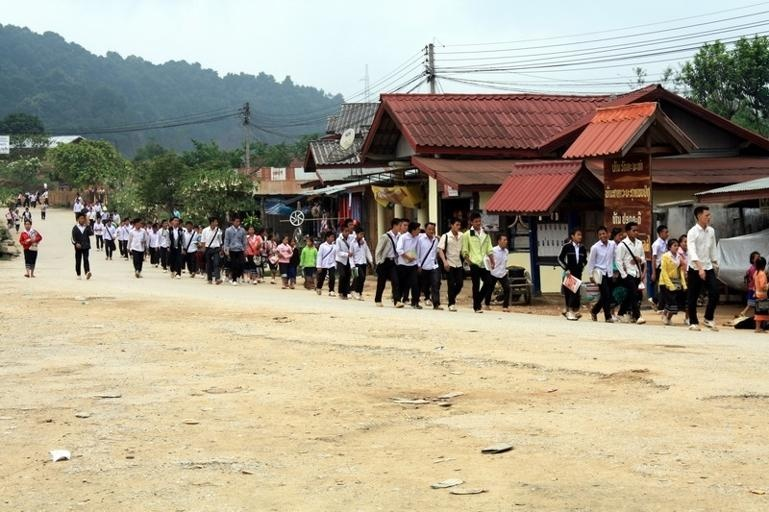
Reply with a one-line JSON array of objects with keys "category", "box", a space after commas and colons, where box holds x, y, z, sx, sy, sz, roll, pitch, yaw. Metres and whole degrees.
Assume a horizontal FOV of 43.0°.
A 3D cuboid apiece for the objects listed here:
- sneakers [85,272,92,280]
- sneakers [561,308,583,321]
[{"category": "sneakers", "box": [-8.658, 0.641, 28.513, 0.157, 0.413, 0.181, 3, 31, -18]}, {"category": "sneakers", "box": [3.924, 1.235, 20.547, 0.149, 0.196, 0.455, 1, -8, -11]}]
